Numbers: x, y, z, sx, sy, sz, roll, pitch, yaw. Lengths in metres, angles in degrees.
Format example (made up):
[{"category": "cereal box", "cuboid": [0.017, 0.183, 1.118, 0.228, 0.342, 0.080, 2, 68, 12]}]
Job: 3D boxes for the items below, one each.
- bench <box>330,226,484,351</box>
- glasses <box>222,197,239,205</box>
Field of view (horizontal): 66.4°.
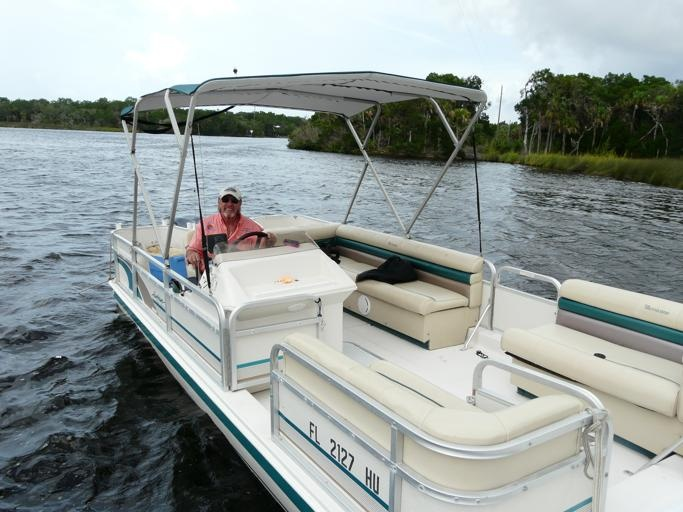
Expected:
[{"category": "bench", "cuboid": [0.344, 0.210, 5.018, 0.668, 0.691, 1.798, -17, 23, -38]}, {"category": "glasses", "cuboid": [-0.886, -0.441, 4.143, 0.070, 0.063, 0.020, 5, 3, -6]}]
